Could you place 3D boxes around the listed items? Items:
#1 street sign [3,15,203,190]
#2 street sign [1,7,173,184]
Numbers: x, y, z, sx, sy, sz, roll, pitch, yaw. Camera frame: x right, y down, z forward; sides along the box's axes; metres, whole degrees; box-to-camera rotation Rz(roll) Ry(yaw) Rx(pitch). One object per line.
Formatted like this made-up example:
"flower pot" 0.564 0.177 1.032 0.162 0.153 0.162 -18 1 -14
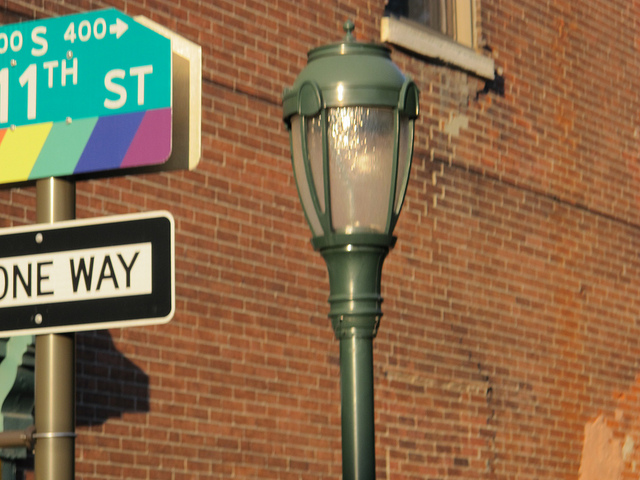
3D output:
"street sign" -1.728 -1.069 16.680 1.178 1.444 0.443 -1 -11 17
"street sign" -1.811 -1.083 16.671 1.054 0.909 0.119 -4 -9 19
